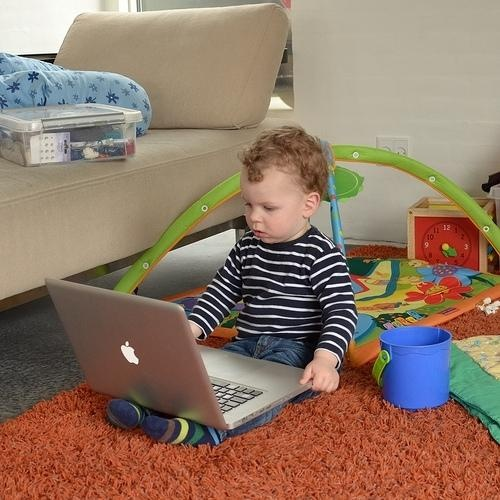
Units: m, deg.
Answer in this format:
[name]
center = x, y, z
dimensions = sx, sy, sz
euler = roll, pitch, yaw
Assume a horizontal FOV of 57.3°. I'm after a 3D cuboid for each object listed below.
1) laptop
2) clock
[laptop]
center = -0.095, 0.140, 0.714
dimensions = 0.312, 0.176, 0.300
euler = 8, 14, 43
[clock]
center = 0.627, -0.038, 1.489
dimensions = 0.298, 0.237, 0.279
euler = 1, -6, 21
